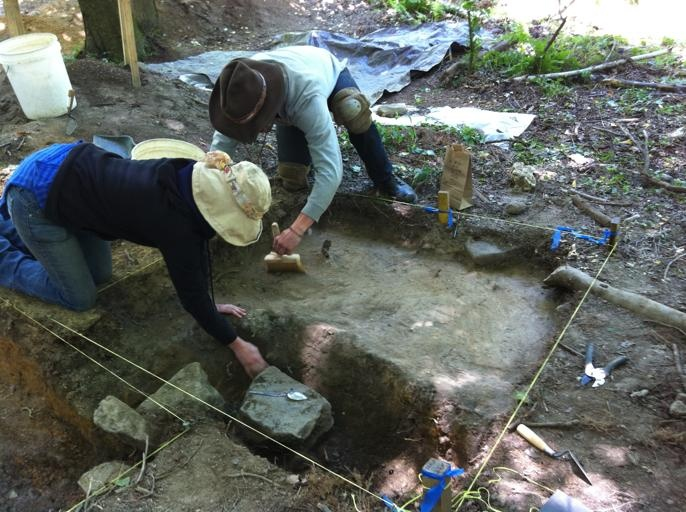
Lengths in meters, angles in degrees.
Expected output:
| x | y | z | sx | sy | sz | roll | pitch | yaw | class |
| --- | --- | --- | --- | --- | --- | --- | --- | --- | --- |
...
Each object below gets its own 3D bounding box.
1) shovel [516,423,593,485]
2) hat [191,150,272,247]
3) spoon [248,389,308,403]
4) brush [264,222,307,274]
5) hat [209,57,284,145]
| x | y | z | sx | sy | sz | roll | pitch | yaw | class |
| --- | --- | --- | --- | --- | --- | --- | --- | --- | --- |
| 1.144 | 1.077 | 2.890 | 0.550 | 0.072 | 0.127 | 31 | 68 | 18 | shovel |
| -0.585 | -0.343 | 3.055 | 0.522 | 0.491 | 0.557 | 11 | 24 | 20 | hat |
| -0.393 | 0.895 | 3.383 | 0.442 | 0.056 | 0.105 | 3 | 23 | 0 | spoon |
| -0.494 | -0.089 | 4.251 | 0.405 | 0.374 | 0.459 | -8 | 28 | -29 | brush |
| -0.666 | -1.094 | 3.691 | 0.516 | 0.568 | 0.426 | -9 | 37 | -14 | hat |
